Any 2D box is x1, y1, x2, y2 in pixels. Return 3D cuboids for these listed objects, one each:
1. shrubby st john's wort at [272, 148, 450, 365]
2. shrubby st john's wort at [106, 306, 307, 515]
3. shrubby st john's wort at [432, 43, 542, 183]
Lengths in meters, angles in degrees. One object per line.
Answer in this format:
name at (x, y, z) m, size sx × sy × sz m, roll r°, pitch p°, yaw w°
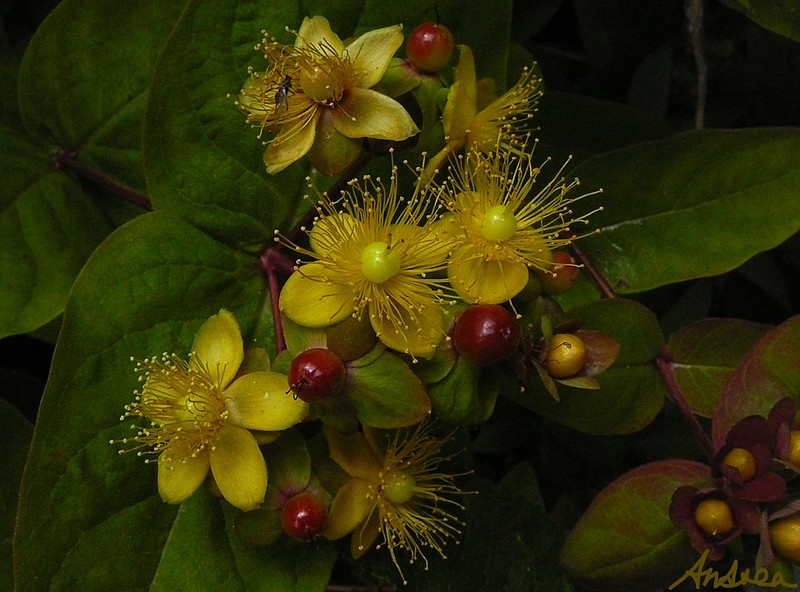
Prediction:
shrubby st john's wort at (-0.052, -0.066, 1.145) m, size 0.225 × 0.222 × 0.271 m, roll -8°, pitch 28°, yaw -3°
shrubby st john's wort at (-0.297, 0.144, 1.195) m, size 0.120 × 0.229 × 0.279 m, roll 14°, pitch 11°, yaw 12°
shrubby st john's wort at (0.124, -0.276, 1.212) m, size 0.151 × 0.089 × 0.230 m, roll 28°, pitch 1°, yaw 4°
